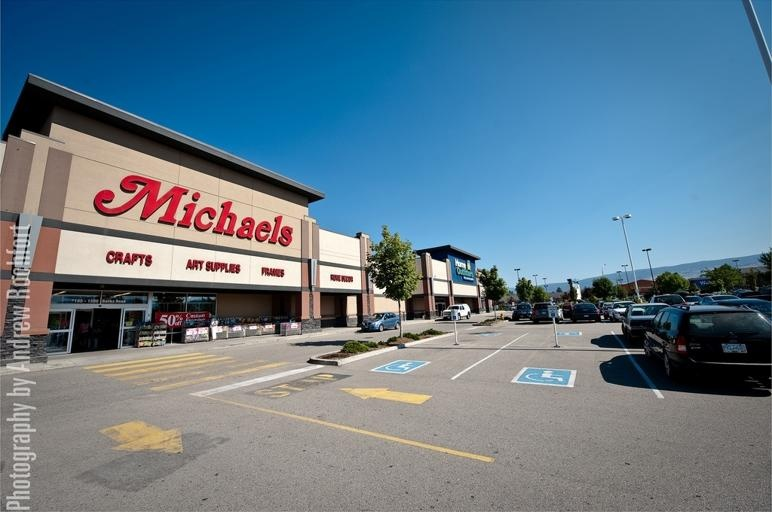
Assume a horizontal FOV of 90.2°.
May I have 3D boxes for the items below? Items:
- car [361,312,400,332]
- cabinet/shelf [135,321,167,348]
[{"bbox_3d":[-0.237,5.981,33.843,1.257,1.638,4.164,-2,1,35],"label":"car"},{"bbox_3d":[-14.758,5.016,24.179,0.491,1.191,1.403,-20,-21,35],"label":"cabinet/shelf"}]
